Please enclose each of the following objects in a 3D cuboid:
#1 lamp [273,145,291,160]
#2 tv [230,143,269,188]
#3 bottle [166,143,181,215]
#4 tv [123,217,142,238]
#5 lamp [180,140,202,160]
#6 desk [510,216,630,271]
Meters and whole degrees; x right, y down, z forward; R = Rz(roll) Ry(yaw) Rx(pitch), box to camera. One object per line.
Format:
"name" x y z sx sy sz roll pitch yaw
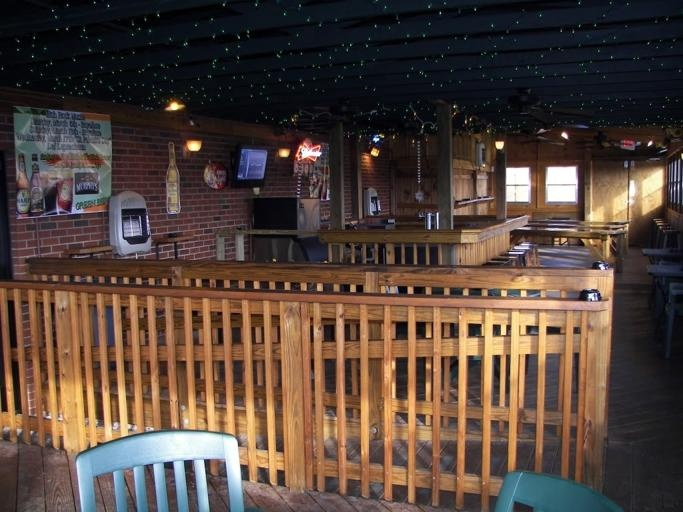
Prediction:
"lamp" -1.070 -1.898 11.401 0.236 0.177 0.244 -1 2 20
"tv" -1.504 -1.480 10.327 0.230 0.701 0.852 2 3 25
"bottle" -2.354 -1.102 8.844 0.082 1.037 0.336 1 3 14
"tv" -2.583 -0.351 7.764 0.210 0.247 0.240 -3 0 16
"lamp" -2.159 -1.569 9.112 0.275 0.244 0.267 -5 4 23
"desk" 5.375 -0.304 14.469 2.284 1.130 5.273 2 3 25
